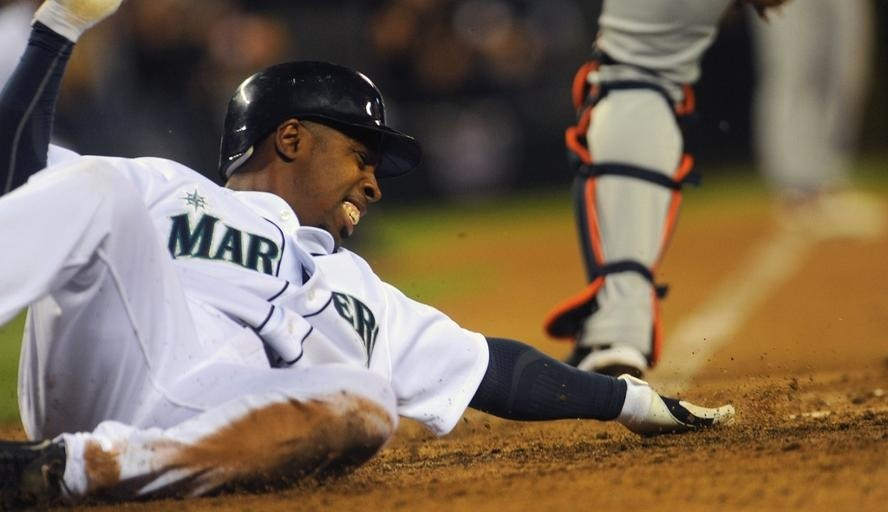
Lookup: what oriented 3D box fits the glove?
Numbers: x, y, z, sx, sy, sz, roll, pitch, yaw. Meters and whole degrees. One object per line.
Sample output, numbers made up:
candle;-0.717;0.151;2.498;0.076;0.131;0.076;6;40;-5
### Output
glove;1.203;0.801;8.528;0.753;0.325;0.245;-4;-2;-16
